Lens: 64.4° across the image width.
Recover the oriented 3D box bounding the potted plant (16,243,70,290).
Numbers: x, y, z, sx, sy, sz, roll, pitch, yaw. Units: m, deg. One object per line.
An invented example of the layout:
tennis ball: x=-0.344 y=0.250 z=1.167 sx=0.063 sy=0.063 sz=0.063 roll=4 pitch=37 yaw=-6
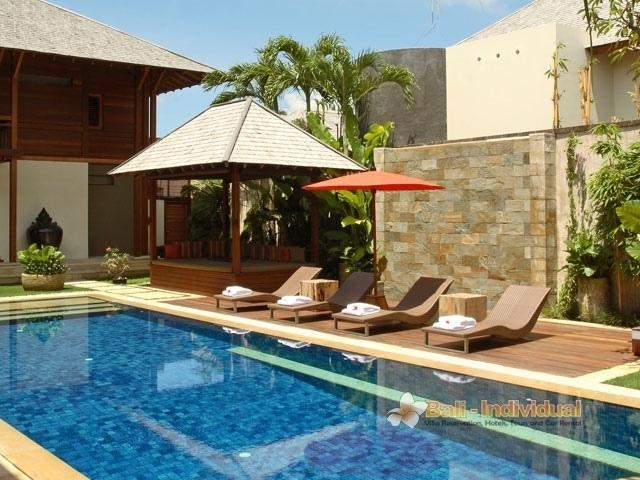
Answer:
potted plant: x=-7.950 y=0.846 z=14.515 sx=1.223 sy=1.190 sz=1.299 roll=2 pitch=-3 yaw=-34

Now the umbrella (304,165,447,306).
umbrella: x=1.084 y=-0.226 z=10.511 sx=3.029 sy=2.421 sz=2.706 roll=2 pitch=10 yaw=18

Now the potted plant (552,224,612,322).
potted plant: x=4.996 y=0.652 z=9.547 sx=0.591 sy=1.676 sz=0.885 roll=-6 pitch=6 yaw=-43

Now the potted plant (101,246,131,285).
potted plant: x=-6.899 y=0.916 z=17.136 sx=1.083 sy=1.242 sz=0.890 roll=-3 pitch=7 yaw=-23
